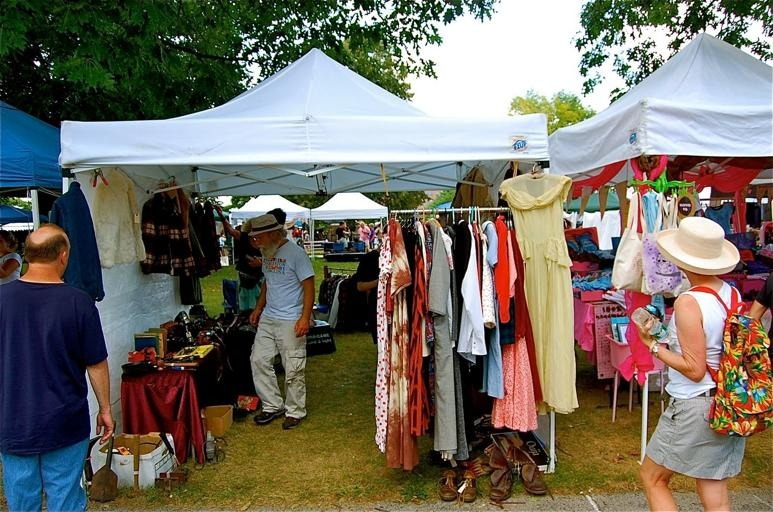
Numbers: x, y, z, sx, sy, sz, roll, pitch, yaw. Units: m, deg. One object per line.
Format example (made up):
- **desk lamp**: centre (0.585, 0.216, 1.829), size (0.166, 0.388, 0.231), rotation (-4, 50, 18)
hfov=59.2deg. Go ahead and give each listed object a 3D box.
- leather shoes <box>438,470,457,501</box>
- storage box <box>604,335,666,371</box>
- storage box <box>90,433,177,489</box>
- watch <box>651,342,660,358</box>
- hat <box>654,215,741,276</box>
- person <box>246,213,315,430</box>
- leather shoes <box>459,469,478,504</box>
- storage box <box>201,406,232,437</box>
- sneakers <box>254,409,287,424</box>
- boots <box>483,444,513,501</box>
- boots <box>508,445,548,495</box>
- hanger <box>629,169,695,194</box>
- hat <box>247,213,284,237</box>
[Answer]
- **leather shoes**: centre (0.652, 2.406, 7.093), size (0.204, 0.249, 0.272), rotation (-3, 2, 5)
- **storage box**: centre (2.948, 1.159, 8.108), size (0.444, 0.218, 0.373), rotation (-1, 4, 0)
- **storage box**: centre (-2.664, 2.182, 7.392), size (0.721, 0.362, 0.721), rotation (-2, 10, -17)
- **watch**: centre (2.401, 0.836, 6.075), size (0.039, 0.109, 0.082), rotation (-1, 8, 17)
- **hat**: centre (2.867, -0.155, 6.221), size (0.677, 0.370, 0.750), rotation (-6, 27, -7)
- **person**: centre (-1.288, 0.792, 8.400), size (0.793, 2.642, 0.402), rotation (-2, 3, 17)
- **leather shoes**: centre (0.849, 2.424, 7.046), size (0.201, 0.164, 0.457), rotation (0, 8, 6)
- **storage box**: centre (-2.024, 1.966, 8.147), size (0.275, 0.177, 0.377), rotation (0, -1, -4)
- **sneakers**: centre (-1.460, 2.024, 8.503), size (0.378, 0.151, 0.136), rotation (5, -7, -43)
- **boots**: centre (1.198, 2.298, 7.178), size (0.263, 0.479, 0.513), rotation (-3, 2, 7)
- **boots**: centre (1.544, 2.339, 7.253), size (0.239, 0.256, 0.654), rotation (-4, 10, -5)
- **hanger**: centre (2.967, -0.780, 7.532), size (0.489, 0.227, 0.496), rotation (0, 0, -4)
- **hat**: centre (-1.500, -0.389, 8.393), size (0.345, 0.137, 0.308), rotation (-10, 7, -6)
